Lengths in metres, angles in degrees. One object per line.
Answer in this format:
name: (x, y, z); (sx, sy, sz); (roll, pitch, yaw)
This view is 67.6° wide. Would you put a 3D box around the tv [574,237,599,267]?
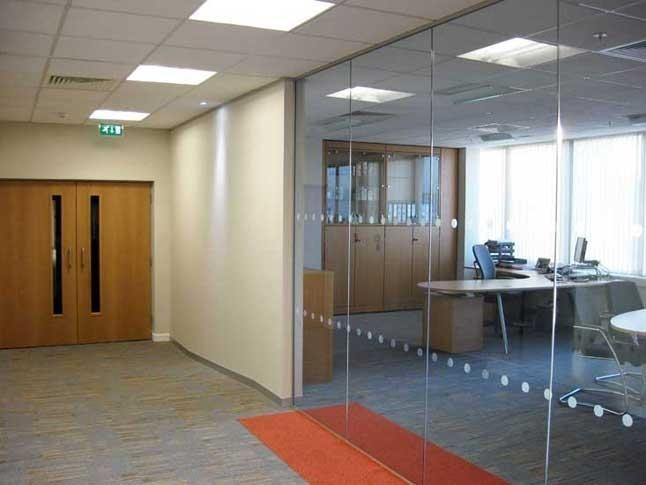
tv: (1.469, 0.046, 2.754); (0.124, 0.158, 0.160); (4, 1, -8)
